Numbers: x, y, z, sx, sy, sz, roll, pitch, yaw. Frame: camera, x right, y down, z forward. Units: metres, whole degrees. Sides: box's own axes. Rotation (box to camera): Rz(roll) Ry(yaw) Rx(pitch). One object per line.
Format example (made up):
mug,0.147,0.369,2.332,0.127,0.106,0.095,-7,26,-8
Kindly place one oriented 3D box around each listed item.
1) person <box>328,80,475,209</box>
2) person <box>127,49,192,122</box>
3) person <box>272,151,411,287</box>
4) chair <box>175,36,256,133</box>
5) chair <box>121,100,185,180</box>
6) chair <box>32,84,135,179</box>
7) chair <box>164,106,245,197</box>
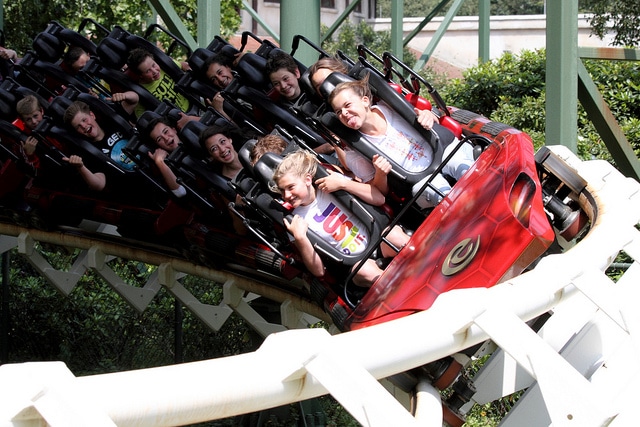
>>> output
person,0.519,-0.457,4.320,1.039,0.759,0.389,37,-11,5
person,-1.704,-1.417,6.303,0.744,0.241,0.534,44,22,-26
person,0.097,0.052,4.118,0.985,0.737,0.345,42,-6,-1
chair,-0.918,-1.174,5.636,0.539,0.791,0.716,11,6,-11
chair,-1.564,-0.651,5.724,0.669,0.621,0.630,26,-9,-16
chair,-2.301,-0.761,5.745,0.567,0.464,0.688,30,-10,46
chair,-0.882,-0.564,5.077,0.588,0.506,0.699,24,-8,39
